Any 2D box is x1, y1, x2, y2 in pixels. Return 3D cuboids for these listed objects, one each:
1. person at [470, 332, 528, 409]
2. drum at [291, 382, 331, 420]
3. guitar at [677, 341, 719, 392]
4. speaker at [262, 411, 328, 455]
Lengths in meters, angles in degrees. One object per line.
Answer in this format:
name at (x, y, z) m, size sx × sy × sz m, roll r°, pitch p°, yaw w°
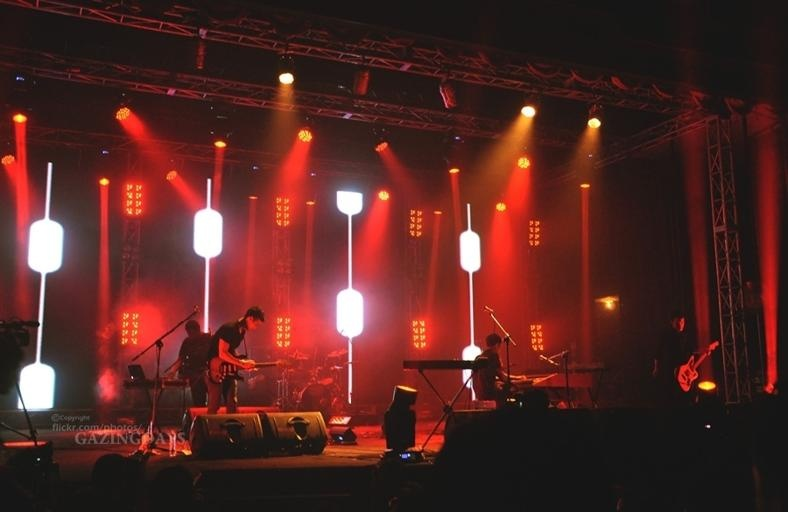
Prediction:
person at (2.021, 2.335, 15.815) m, size 1.029 × 1.676 × 0.890 m, roll 3°, pitch -1°, yaw -35°
drum at (-1.925, 3.323, 18.998) m, size 0.883 × 0.902 × 0.920 m, roll 5°, pitch -5°, yaw -4°
guitar at (6.218, 2.403, 16.931) m, size 0.984 × 0.741 × 1.438 m, roll 0°, pitch -23°, yaw 0°
speaker at (-1.752, 3.041, 14.031) m, size 1.149 × 0.729 × 0.379 m, roll 4°, pitch -15°, yaw -9°
